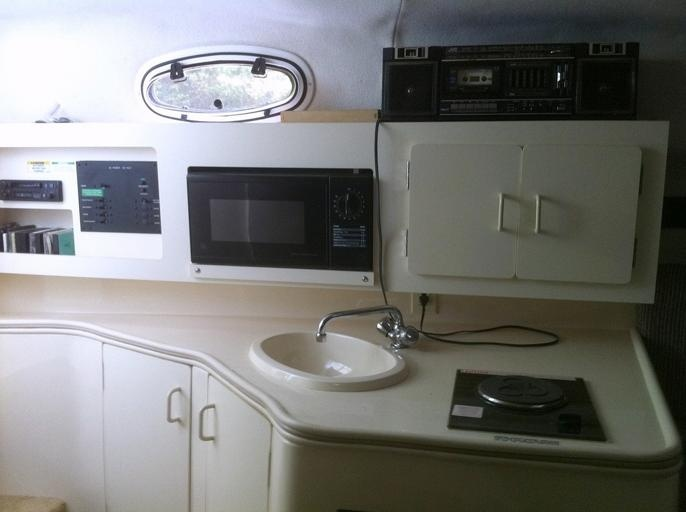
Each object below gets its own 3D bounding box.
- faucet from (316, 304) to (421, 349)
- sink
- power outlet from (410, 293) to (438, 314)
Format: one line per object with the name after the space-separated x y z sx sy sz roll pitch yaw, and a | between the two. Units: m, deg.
0.088 0.281 2.309 0.444 0.202 0.188 -7 11 -19 | faucet
-0.045 0.388 2.323 0.597 0.194 0.607 1 9 4 | sink
0.369 0.214 2.624 0.102 0.100 0.025 3 3 11 | power outlet
